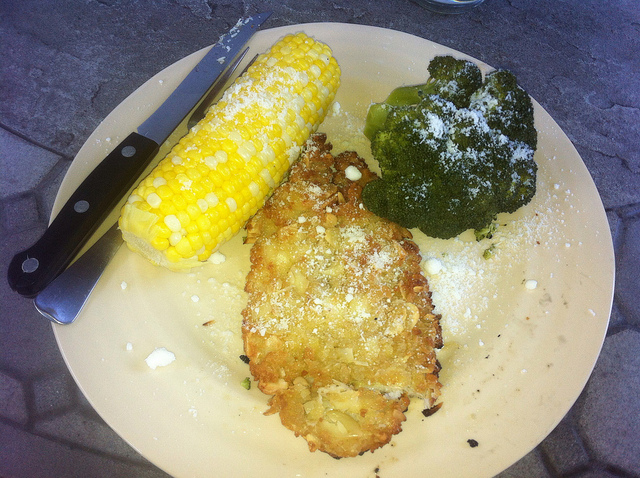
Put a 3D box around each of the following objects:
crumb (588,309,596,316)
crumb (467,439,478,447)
[{"bbox_3d":[0.976,0.257,2.455,0.028,0.009,0.015,41,84,3],"label":"crumb"},{"bbox_3d":[0.544,0.724,2.437,0.024,0.006,0.026,-5,88,12],"label":"crumb"}]
